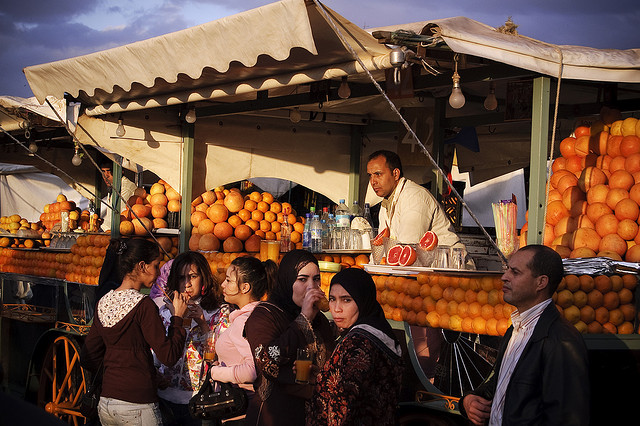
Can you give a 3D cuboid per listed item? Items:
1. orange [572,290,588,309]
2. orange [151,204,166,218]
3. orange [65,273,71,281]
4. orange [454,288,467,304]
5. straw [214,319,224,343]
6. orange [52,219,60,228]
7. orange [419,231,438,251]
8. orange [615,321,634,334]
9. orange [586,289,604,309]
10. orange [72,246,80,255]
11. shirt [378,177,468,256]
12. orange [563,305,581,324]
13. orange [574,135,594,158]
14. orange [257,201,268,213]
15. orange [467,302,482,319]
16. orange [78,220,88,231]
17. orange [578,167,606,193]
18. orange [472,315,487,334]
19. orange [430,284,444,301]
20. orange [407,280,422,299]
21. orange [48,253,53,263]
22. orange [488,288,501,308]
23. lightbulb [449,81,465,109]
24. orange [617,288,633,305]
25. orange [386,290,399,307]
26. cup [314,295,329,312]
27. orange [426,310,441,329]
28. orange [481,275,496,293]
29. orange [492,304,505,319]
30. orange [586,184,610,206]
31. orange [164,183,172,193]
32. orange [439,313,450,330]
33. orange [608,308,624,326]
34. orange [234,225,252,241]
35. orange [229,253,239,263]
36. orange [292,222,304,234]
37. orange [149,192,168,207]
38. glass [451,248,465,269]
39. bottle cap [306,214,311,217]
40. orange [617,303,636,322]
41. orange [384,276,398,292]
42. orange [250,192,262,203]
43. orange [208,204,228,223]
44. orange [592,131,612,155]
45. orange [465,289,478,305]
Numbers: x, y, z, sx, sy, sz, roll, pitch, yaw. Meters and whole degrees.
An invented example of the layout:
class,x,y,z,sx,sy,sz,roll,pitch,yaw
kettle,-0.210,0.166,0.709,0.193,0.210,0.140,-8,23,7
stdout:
class,x,y,z,sx,sy,sz,roll,pitch,yaw
orange,2.240,0.731,4.611,0.121,0.166,0.130,1,4,-1
orange,-2.388,-0.026,7.870,0.168,0.193,0.179,-1,4,14
orange,-3.550,0.896,7.481,0.079,0.109,0.086,0,4,8
orange,1.266,0.752,4.869,0.105,0.132,0.104,-2,-1,-31
straw,-0.849,0.984,4.459,0.017,0.182,0.015,15,-31,18
orange,-5.267,0.190,10.584,0.161,0.174,0.167,-1,-7,-2
orange,1.061,0.266,5.189,0.159,0.167,0.099,-41,-48,19
orange,2.670,0.991,4.725,0.108,0.144,0.116,-1,7,-3
orange,2.382,0.742,4.713,0.132,0.173,0.140,-10,-1,-4
orange,-3.475,0.529,7.591,0.107,0.120,0.108,1,-13,-24
shirt,1.124,0.010,6.193,0.821,1.030,0.733,-13,0,-18
orange,2.165,0.867,4.601,0.132,0.176,0.132,11,-13,-36
orange,2.732,-0.690,5.563,0.185,0.248,0.185,1,2,11
orange,-0.835,-0.093,7.656,0.114,0.149,0.082,11,-26,-3
orange,1.373,0.862,4.762,0.093,0.115,0.131,-2,-2,-4
orange,-4.455,0.229,10.009,0.172,0.103,0.182,4,-9,-16
orange,2.667,-0.322,5.317,0.202,0.243,0.210,6,-2,-13
orange,1.403,0.976,4.716,0.119,0.163,0.132,-3,-4,21
orange,1.079,0.735,4.989,0.120,0.135,0.078,18,16,37
orange,0.891,0.729,5.128,0.152,0.124,0.112,-27,3,-29
orange,-3.993,0.652,7.887,0.055,0.124,0.140,3,-3,-30
orange,1.507,0.748,4.677,0.109,0.152,0.117,0,3,-3
lightbulb,1.298,-1.127,5.090,0.113,0.289,0.390,1,-3,14
orange,2.689,0.733,4.783,0.114,0.158,0.123,-1,6,0
orange,0.697,0.836,5.261,0.111,0.154,0.127,2,1,-1
cup,0.005,0.676,3.996,0.104,0.096,0.122,1,-8,15
orange,1.042,0.983,4.972,0.126,0.169,0.137,1,3,5
orange,1.477,0.617,4.729,0.116,0.158,0.123,4,8,26
orange,1.539,0.850,4.630,0.091,0.125,0.100,1,-8,15
orange,2.672,-0.165,5.168,0.169,0.216,0.171,6,-4,-37
orange,-2.277,-0.385,7.944,0.071,0.123,0.215,3,-3,-25
orange,1.129,0.984,4.919,0.110,0.148,0.115,1,3,8
orange,2.590,0.898,4.684,0.123,0.162,0.128,2,-4,35
orange,-1.075,0.272,7.335,0.184,0.247,0.198,-1,-4,-1
orange,-1.109,0.568,6.809,0.122,0.075,0.127,-25,7,-16
orange,-0.315,0.213,7.674,0.130,0.168,0.131,-14,-13,42
orange,-2.412,-0.197,7.916,0.232,0.221,0.211,7,20,8
glass,1.325,0.428,5.111,0.168,0.185,0.108,4,-4,-42
bottle cap,-0.167,0.029,7.158,0.052,0.043,0.052,2,0,-39
orange,2.711,0.861,4.735,0.142,0.194,0.148,-3,-6,34
orange,0.692,0.699,5.321,0.126,0.151,0.053,-1,-4,41
orange,-0.928,-0.246,7.779,0.139,0.180,0.142,22,42,40
orange,-1.429,0.010,7.409,0.222,0.256,0.225,-2,-4,17
orange,2.830,-0.691,5.437,0.185,0.249,0.192,6,-4,-24
orange,1.342,0.740,4.808,0.095,0.131,0.105,3,-11,-3
